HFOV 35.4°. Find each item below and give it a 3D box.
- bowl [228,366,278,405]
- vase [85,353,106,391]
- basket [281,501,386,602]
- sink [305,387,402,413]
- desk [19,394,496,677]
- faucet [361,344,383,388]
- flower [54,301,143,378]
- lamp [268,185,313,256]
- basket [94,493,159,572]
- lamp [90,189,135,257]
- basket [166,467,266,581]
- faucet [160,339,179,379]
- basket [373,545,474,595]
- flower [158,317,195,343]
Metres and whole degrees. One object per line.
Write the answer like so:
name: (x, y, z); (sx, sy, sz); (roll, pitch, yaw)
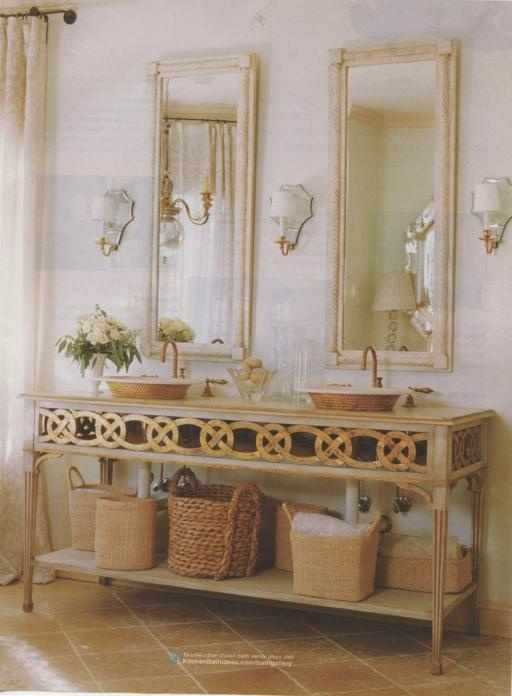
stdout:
bowl: (-0.014, 0.147, 3.052); (0.152, 0.089, 0.148); (-1, -5, 0)
vase: (-0.652, 0.109, 3.245); (0.069, 0.156, 0.258); (1, 1, -11)
basket: (0.269, 0.666, 2.819); (0.460, 0.311, 0.256); (-1, -2, 22)
sink: (0.340, 0.179, 2.777); (0.313, 0.078, 0.170); (1, 1, 6)
desk: (-0.018, 0.613, 3.013); (1.637, 0.837, 0.514); (1, 2, 22)
faucet: (0.439, 0.074, 3.047); (0.081, 0.155, 0.249); (1, 1, 7)
flower: (-0.684, -0.007, 3.408); (0.345, 0.259, 0.305); (4, -11, 29)
lamp: (0.137, -0.521, 3.267); (0.178, 0.293, 0.123); (1, 2, 10)
basket: (-0.454, 0.727, 3.131); (0.273, 0.251, 0.253); (1, -4, 3)
lamp: (-0.647, -0.558, 3.623); (0.184, 0.303, 0.124); (1, 2, -10)
basket: (-0.134, 0.639, 3.085); (0.403, 0.332, 0.383); (3, 3, 41)
faucet: (-0.364, 0.051, 3.375); (0.077, 0.157, 0.311); (1, 1, -7)
basket: (0.587, 0.777, 2.853); (0.244, 0.078, 0.175); (-2, -6, 30)
flower: (-0.356, -0.074, 3.470); (0.139, 0.092, 0.109); (7, 2, 31)
